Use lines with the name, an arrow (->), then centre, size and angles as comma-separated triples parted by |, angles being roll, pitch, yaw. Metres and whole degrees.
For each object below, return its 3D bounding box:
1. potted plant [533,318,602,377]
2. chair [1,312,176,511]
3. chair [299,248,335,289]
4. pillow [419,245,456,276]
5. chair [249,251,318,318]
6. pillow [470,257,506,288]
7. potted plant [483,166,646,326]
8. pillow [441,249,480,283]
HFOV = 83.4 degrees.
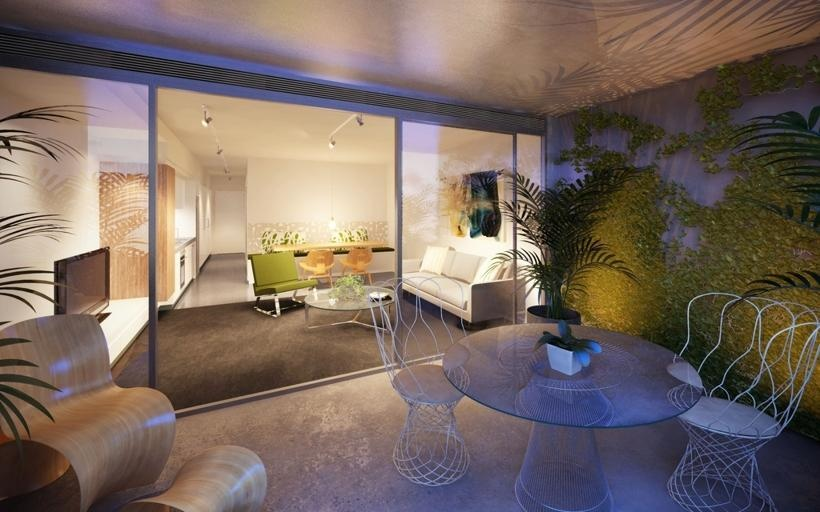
potted plant -> 1.398, 0.771, 3.934 | 0.490, 0.244, 0.492 | 5, 4, 43
chair -> -2.732, 1.366, 3.962 | 0.974, 1.655, 0.951 | 8, 11, 39
chair -> -1.746, 0.232, 8.727 | 0.742, 0.945, 0.674 | -1, 15, -17
pillow -> 0.345, 0.044, 5.932 | 0.340, 0.362, 0.110 | 13, 0, -12
chair -> -2.159, 0.424, 7.659 | 0.995, 1.113, 1.285 | 7, 6, 31
pillow -> 1.068, 0.207, 6.238 | 0.374, 0.366, 0.125 | 21, 5, -26
potted plant -> 2.010, -0.188, 6.010 | 1.649, 1.983, 1.023 | 4, 10, 25
pillow -> 0.659, 0.126, 6.035 | 0.478, 0.436, 0.112 | 15, 1, -17
